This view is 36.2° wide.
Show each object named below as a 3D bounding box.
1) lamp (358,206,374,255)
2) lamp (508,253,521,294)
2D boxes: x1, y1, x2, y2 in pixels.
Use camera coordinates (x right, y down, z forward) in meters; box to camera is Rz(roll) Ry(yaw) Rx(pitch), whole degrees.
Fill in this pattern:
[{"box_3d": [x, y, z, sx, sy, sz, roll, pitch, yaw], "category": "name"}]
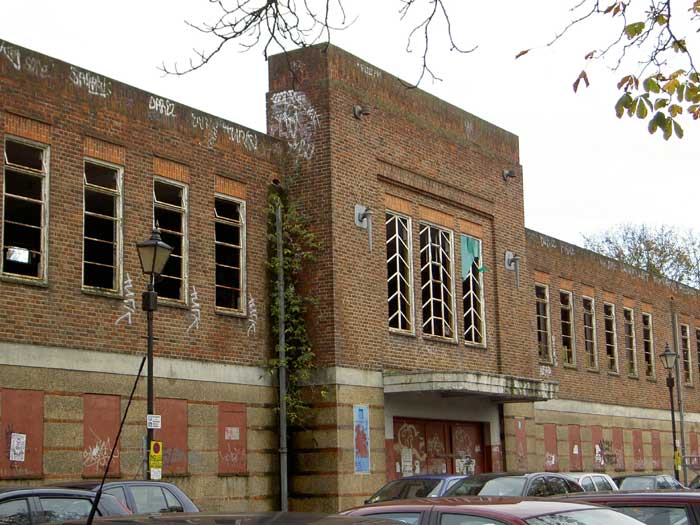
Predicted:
[{"box_3d": [0.450, -0.886, 27.784, 0.272, 1.142, 0.692, -8, -20, 20], "category": "lamp"}, {"box_3d": [5.105, 0.235, 33.273, 0.168, 1.104, 0.683, -11, -21, 27], "category": "lamp"}]
